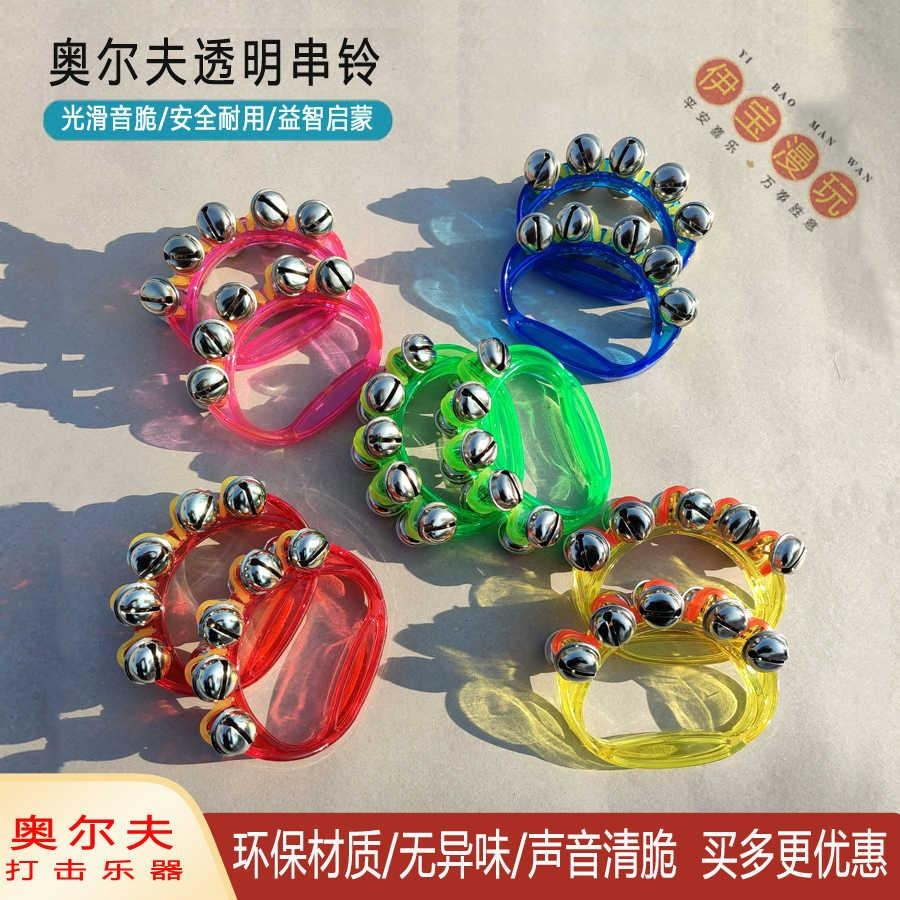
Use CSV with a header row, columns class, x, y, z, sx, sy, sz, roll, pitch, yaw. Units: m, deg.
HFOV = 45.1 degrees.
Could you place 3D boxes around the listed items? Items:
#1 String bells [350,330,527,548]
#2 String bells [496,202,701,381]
class,x,y,z,sx,sy,sz,roll,pitch,yaw
String bells,-0.040,-0.013,2.511,0.441,0.481,0.172,-6,0,-25
String bells,0.364,-0.387,2.673,0.476,0.404,0.232,3,31,2
